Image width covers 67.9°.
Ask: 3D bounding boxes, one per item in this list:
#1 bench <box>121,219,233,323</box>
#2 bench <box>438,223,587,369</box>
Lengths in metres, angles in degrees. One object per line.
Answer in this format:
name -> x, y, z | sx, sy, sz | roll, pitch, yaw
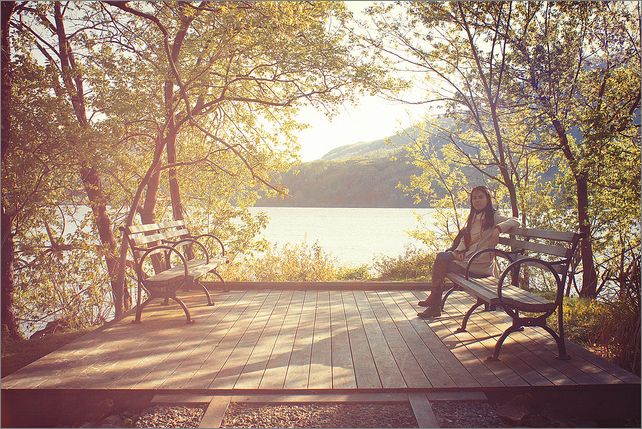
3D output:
bench -> -2.657, 1.045, 8.518 | 0.770, 1.088, 1.849 | -2, 2, 1
bench -> 2.746, 1.047, 7.517 | 1.202, 1.739, 2.977 | 0, 2, 0
